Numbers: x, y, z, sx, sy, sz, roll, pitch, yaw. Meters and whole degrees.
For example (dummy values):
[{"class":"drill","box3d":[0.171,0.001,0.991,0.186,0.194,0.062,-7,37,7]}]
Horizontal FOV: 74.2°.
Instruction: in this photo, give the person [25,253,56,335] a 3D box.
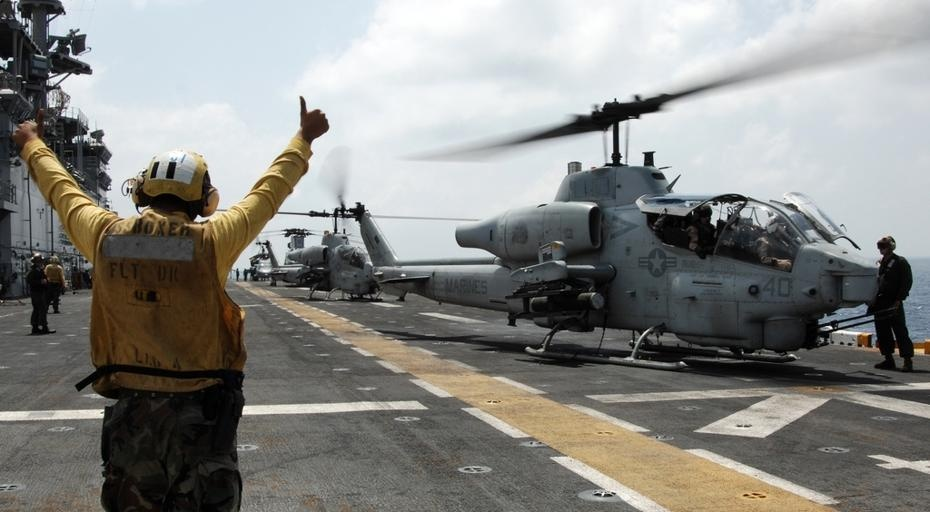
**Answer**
[{"class":"person","box3d":[-13.623,1.260,19.296,1.177,2.692,0.968,1,-2,-6]}]

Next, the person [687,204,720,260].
[{"class":"person","box3d":[5.127,-0.546,13.157,0.606,1.152,0.287,1,-1,13]}]
